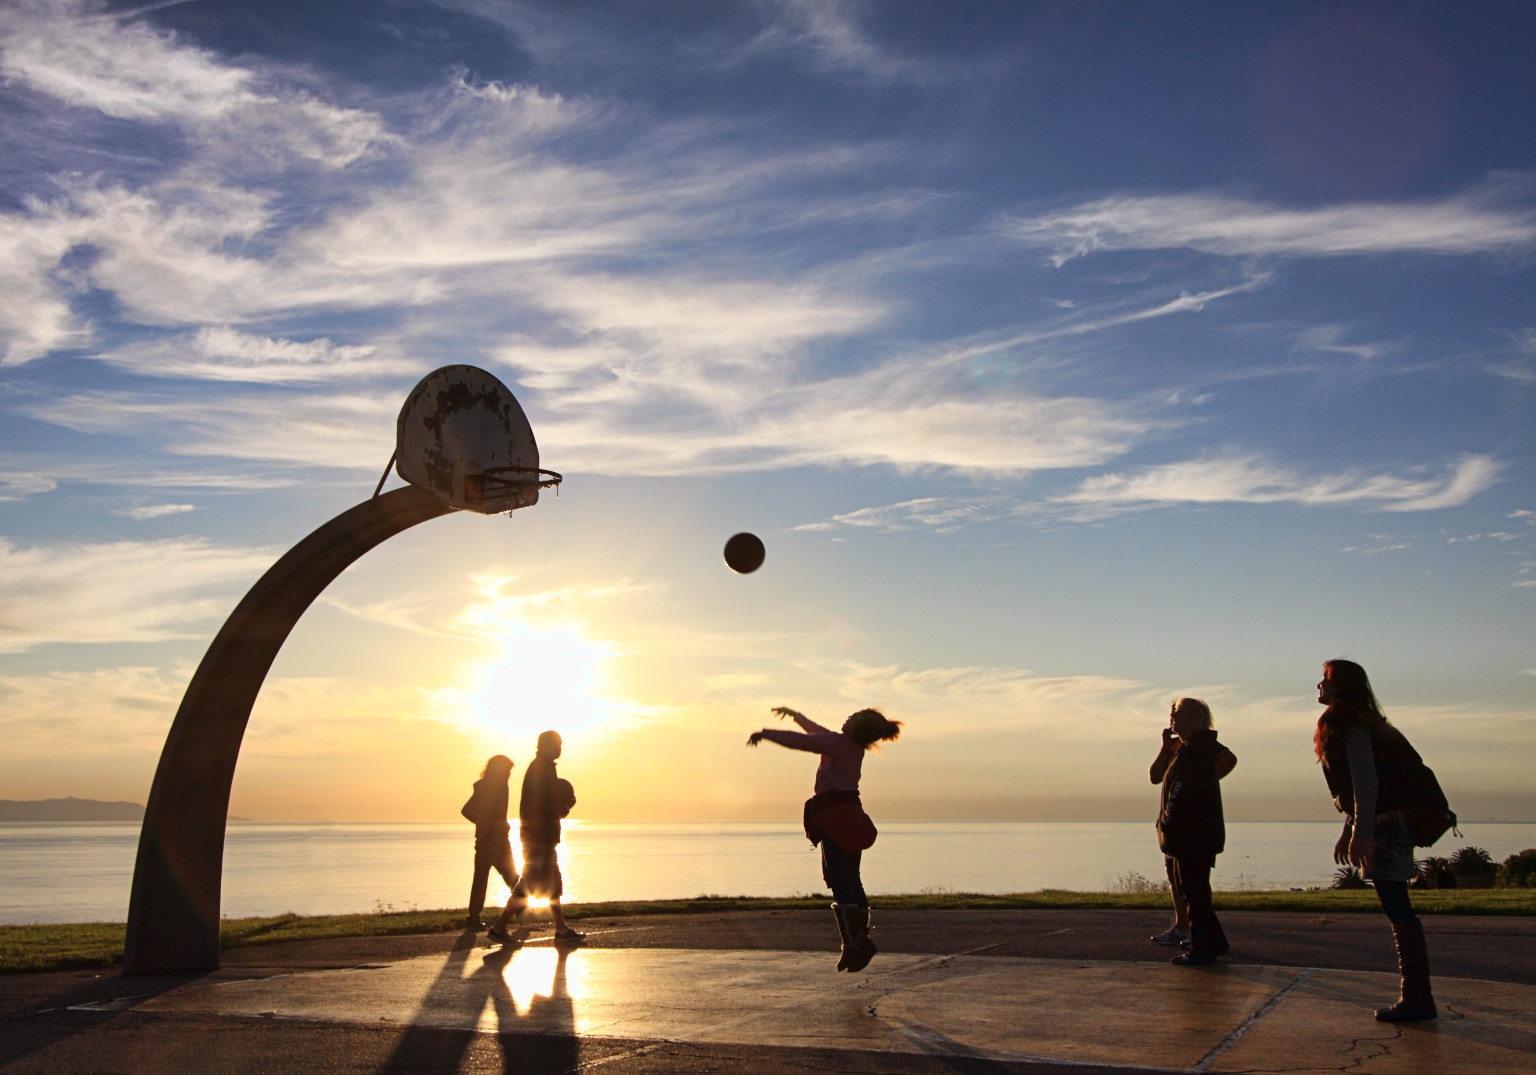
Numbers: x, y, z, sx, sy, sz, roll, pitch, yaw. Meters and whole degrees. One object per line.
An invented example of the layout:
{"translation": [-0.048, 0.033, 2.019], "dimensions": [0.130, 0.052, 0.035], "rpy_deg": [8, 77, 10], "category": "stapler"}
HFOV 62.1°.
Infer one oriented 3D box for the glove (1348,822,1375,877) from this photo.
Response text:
{"translation": [4.754, 2.479, 10.133], "dimensions": [0.202, 0.396, 0.189], "rpy_deg": [-7, -11, 20], "category": "glove"}
